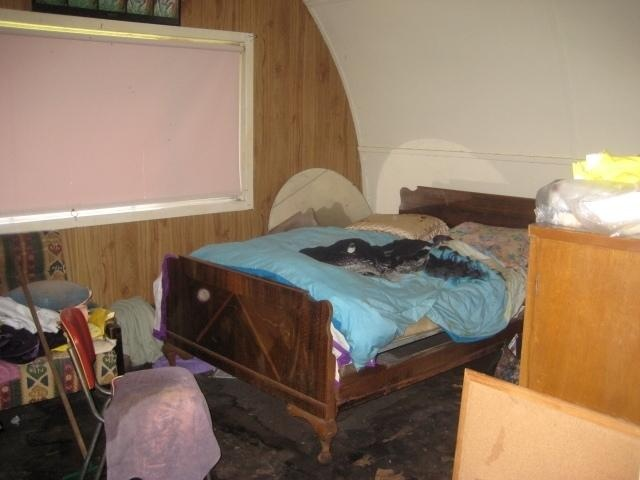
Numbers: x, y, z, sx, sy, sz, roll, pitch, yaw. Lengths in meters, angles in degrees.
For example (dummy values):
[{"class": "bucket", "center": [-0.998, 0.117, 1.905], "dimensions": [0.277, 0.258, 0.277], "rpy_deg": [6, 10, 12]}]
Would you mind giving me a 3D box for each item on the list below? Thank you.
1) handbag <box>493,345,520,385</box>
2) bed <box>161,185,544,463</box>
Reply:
[{"class": "handbag", "center": [0.836, 0.544, 2.181], "dimensions": [0.053, 0.164, 0.148], "rpy_deg": [12, 2, -26]}, {"class": "bed", "center": [-0.135, 0.415, 3.996], "dimensions": [1.327, 0.981, 1.854], "rpy_deg": [17, 22, 23]}]
